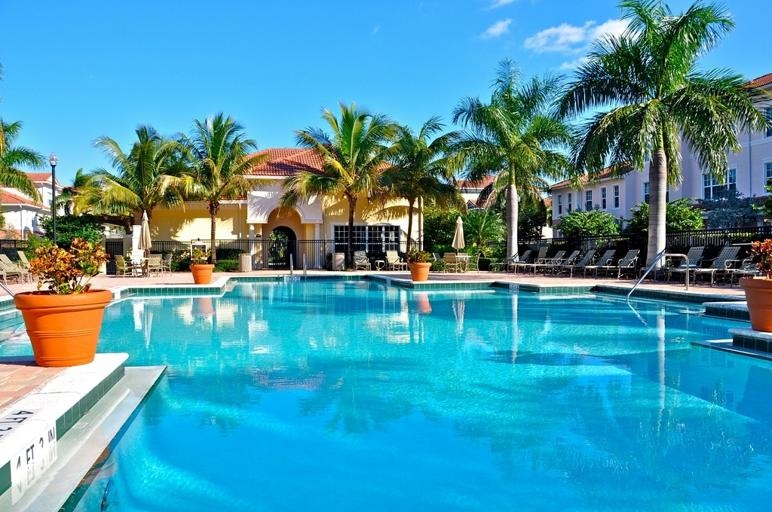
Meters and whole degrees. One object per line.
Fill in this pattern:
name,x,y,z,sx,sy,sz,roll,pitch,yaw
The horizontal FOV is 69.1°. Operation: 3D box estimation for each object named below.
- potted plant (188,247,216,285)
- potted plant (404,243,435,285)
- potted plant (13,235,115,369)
potted plant,-6.835,0.401,20.861,1.113,1.776,1.217,-1,-9,-6
potted plant,1.165,0.425,19.454,0.753,1.087,1.653,0,10,2
potted plant,-4.075,0.589,7.507,1.060,1.581,1.117,-19,2,3
